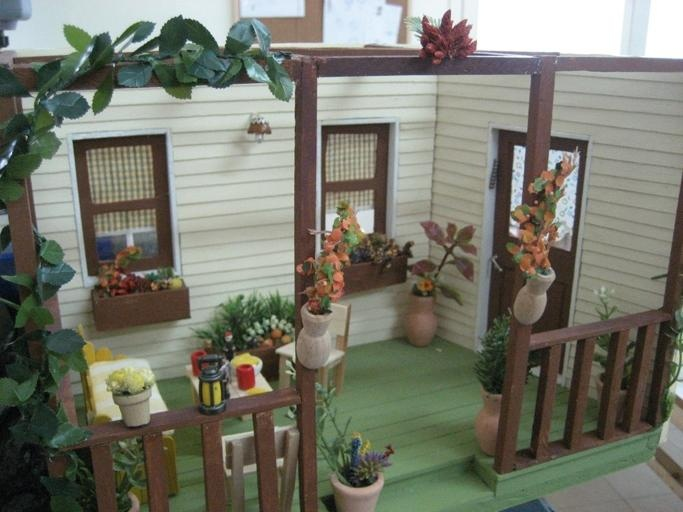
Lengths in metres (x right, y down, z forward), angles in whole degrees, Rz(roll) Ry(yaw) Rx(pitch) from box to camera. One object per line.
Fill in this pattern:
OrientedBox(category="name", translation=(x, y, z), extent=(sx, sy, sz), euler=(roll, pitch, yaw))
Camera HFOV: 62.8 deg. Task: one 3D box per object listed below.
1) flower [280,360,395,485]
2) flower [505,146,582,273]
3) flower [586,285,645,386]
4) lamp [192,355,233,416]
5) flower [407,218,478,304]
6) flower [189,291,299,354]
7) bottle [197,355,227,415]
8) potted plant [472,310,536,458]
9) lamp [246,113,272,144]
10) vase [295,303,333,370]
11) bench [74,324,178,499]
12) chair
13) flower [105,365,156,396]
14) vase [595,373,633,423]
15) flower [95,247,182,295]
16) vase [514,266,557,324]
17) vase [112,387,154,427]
OrientedBox(category="flower", translation=(-0.039, 1.465, 4.832), extent=(0.708, 1.264, 0.546), euler=(-22, 51, 0))
OrientedBox(category="flower", translation=(1.515, -0.298, 4.246), extent=(0.346, 0.946, 0.547), euler=(15, 25, 38))
OrientedBox(category="flower", translation=(2.701, 0.839, 5.508), extent=(0.462, 1.184, 0.581), euler=(-8, -26, 35))
OrientedBox(category="lamp", translation=(-0.820, 0.819, 3.644), extent=(0.170, 0.371, 0.269), euler=(7, 14, 28))
OrientedBox(category="flower", translation=(1.263, 0.062, 6.988), extent=(0.845, 1.043, 0.667), euler=(4, 20, 13))
OrientedBox(category="flower", translation=(-1.208, 0.839, 6.949), extent=(0.920, 0.600, 1.282), euler=(-2, -15, -34))
OrientedBox(category="bottle", translation=(-0.832, 0.819, 3.606), extent=(0.196, 0.353, 0.172), euler=(-5, 20, -12))
OrientedBox(category="potted plant", translation=(1.468, 1.050, 5.075), extent=(0.481, 1.493, 1.051), euler=(4, 20, 15))
OrientedBox(category="lamp", translation=(-0.874, -1.385, 6.087), extent=(0.309, 0.361, 0.285), euler=(5, 29, 4))
OrientedBox(category="vase", translation=(-0.184, 0.558, 3.751), extent=(0.241, 0.391, 0.260), euler=(9, 14, 22))
OrientedBox(category="bench", translation=(-2.074, 1.448, 5.307), extent=(0.661, 1.034, 1.759), euler=(-7, 13, -32))
OrientedBox(category="chair", translation=(-0.203, 1.079, 6.136), extent=(0.563, 0.823, 0.575), euler=(-7, -6, -20))
OrientedBox(category="flower", translation=(-1.297, 0.760, 3.430), extent=(0.239, 0.179, 0.132), euler=(-5, -1, -1))
OrientedBox(category="vase", translation=(2.571, 1.419, 5.589), extent=(0.389, 0.462, 0.386), euler=(1, -17, -1))
OrientedBox(category="flower", translation=(-2.136, 0.195, 5.950), extent=(0.746, 0.483, 0.270), euler=(-8, -30, -29))
OrientedBox(category="vase", translation=(1.477, 0.330, 4.318), extent=(0.263, 0.489, 0.159), euler=(5, 20, 17))
OrientedBox(category="vase", translation=(-1.290, 0.944, 3.499), extent=(0.231, 0.201, 0.239), euler=(-7, 1, 26))
